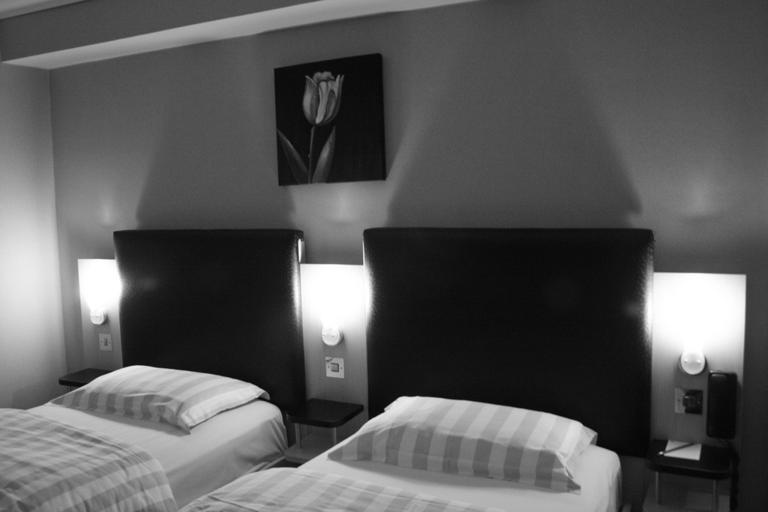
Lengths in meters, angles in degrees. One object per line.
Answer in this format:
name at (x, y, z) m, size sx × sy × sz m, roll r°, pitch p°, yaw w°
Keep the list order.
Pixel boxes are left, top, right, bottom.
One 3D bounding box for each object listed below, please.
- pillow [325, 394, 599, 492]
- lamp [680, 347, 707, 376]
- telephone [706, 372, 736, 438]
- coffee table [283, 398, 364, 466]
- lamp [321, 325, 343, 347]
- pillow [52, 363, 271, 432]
pillow at (0.447, 1.036, 3.224) m, size 0.999 × 0.169 × 0.606 m, roll -2°, pitch 6°, yaw 24°
lamp at (1.726, 0.595, 3.244) m, size 0.131 × 0.152 × 0.051 m, roll 1°, pitch 0°, yaw 26°
telephone at (1.834, 0.827, 3.158) m, size 0.147 × 0.364 × 0.143 m, roll 1°, pitch 0°, yaw 30°
coffee table at (-0.384, 1.133, 3.960) m, size 0.472 × 0.336 × 0.471 m, roll 3°, pitch 6°, yaw 30°
lamp at (-0.354, 0.554, 3.997) m, size 0.143 × 0.140 × 0.034 m, roll 15°, pitch 5°, yaw 30°
pillow at (-1.589, 0.946, 3.975) m, size 0.931 × 0.162 × 0.570 m, roll 2°, pitch 7°, yaw 29°
